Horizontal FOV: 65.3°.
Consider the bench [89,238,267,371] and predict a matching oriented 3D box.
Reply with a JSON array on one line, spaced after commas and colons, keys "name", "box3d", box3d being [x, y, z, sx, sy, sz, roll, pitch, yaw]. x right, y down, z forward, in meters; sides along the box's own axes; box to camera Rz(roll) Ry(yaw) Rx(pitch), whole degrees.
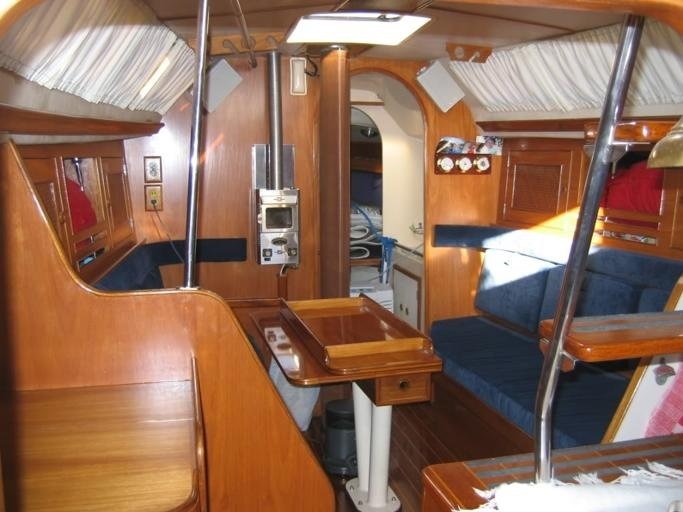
[{"name": "bench", "box3d": [-1.298, 0.357, 4.140, 0.858, 0.672, 1.445, 0, 6, 7]}]

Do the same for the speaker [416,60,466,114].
[{"name": "speaker", "box3d": [0.861, -1.484, 4.646, 0.395, 0.399, 0.128, -6, 10, -22]}]

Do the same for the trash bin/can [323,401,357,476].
[{"name": "trash bin/can", "box3d": [0.026, 1.197, 3.343, 0.240, 0.319, 0.242, -8, -14, 27]}]

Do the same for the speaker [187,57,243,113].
[{"name": "speaker", "box3d": [-0.942, -1.432, 4.500, 0.364, 0.106, 0.500, -10, -27, -23]}]
